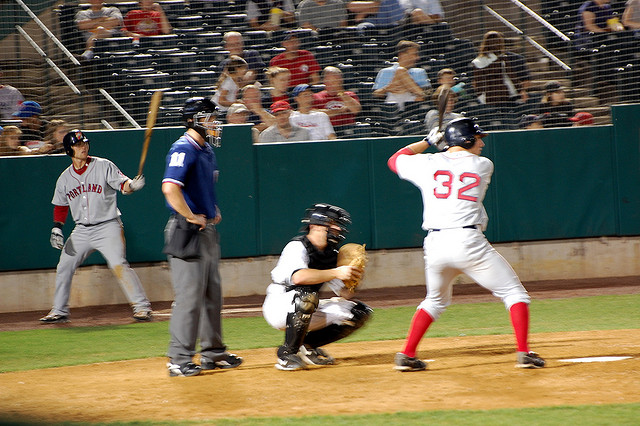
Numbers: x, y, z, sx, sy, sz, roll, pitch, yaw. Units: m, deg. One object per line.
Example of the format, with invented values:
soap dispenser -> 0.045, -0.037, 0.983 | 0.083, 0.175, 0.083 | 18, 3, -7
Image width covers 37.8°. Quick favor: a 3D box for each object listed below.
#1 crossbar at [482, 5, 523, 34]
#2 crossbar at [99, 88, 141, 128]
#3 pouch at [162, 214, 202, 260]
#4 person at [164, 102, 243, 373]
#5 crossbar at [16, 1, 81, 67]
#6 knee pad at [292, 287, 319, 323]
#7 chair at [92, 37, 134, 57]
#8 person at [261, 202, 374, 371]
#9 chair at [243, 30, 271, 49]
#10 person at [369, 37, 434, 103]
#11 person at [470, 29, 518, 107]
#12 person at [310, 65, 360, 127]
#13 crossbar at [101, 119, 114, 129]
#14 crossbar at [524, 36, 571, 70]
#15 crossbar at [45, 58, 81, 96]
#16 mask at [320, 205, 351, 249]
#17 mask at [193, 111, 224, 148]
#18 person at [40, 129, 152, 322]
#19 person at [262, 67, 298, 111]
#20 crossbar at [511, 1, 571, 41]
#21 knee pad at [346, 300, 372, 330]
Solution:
crossbar -> 3.136, -3.319, 16.174 | 1.050, 0.095, 0.109 | 29, -6, 4
crossbar -> -3.300, -1.693, 15.202 | 0.107, 1.033, 0.106 | -54, 8, 10
pouch -> -1.623, 0.277, 10.799 | 0.459, 0.517, 0.214 | -1, 12, 11
person -> -1.437, 0.306, 10.900 | 0.570, 3.133, 1.069 | 5, 15, 38
crossbar -> -4.569, -2.924, 15.535 | 0.121, 1.843, 0.113 | -46, 11, 47
knee pad -> -0.168, 1.053, 10.726 | 0.223, 0.342, 0.343 | 11, -6, -43
chair -> -3.492, -2.781, 15.689 | 0.684, 0.319, 0.347 | -4, 10, -9
person -> -0.062, 0.865, 10.975 | 1.258, 1.947, 0.609 | -4, 11, -1
chair -> -1.073, -2.898, 15.753 | 0.465, 0.308, 0.195 | -2, 11, 1
person -> 1.418, -2.360, 15.822 | 1.124, 0.804, 0.781 | -1, 14, 27
person -> 2.884, -2.401, 15.747 | 0.801, 1.226, 0.473 | -4, 11, 0
person -> 0.233, -1.894, 15.453 | 0.804, 0.955, 0.231 | -3, 12, 1
crossbar -> -3.467, -1.429, 15.130 | 0.067, 0.253, 0.056 | -54, 11, -8
crossbar -> 3.904, -2.708, 16.023 | 0.109, 1.058, 0.100 | -55, -5, -29
crossbar -> -4.224, -2.184, 15.254 | 0.095, 1.018, 0.108 | -55, -1, -20
mask -> 0.183, 0.134, 11.019 | 0.632, 0.433, 0.402 | 2, 9, 1
mask -> -1.300, -1.018, 11.197 | 0.559, 0.372, 0.412 | -4, 10, 0
person -> -3.301, 0.201, 13.787 | 1.552, 2.803, 0.979 | -4, 11, -3
person -> -0.682, -2.006, 15.320 | 0.569, 0.693, 0.225 | -3, 11, 1
crossbar -> 3.834, -3.279, 16.201 | 0.099, 1.331, 0.116 | -60, -1, -43
knee pad -> 0.478, 1.199, 11.167 | 0.396, 0.228, 0.136 | -34, 2, -28
